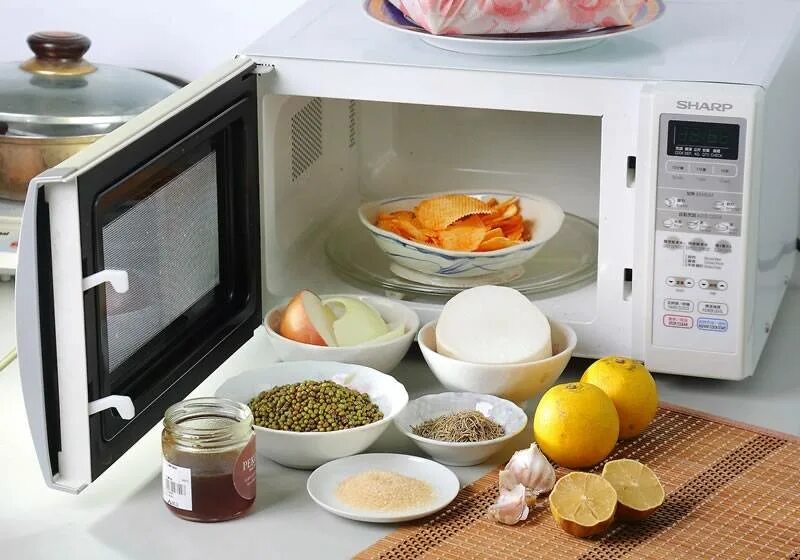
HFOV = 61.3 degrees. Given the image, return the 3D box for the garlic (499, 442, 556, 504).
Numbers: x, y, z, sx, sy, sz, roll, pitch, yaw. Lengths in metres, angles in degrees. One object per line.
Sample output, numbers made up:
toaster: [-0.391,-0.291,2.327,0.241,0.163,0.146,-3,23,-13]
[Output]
garlic: [0.133,0.201,0.702,0.061,0.059,0.050,-5,-11,29]

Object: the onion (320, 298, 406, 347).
onion: [-0.048,0.039,0.914,0.080,0.040,0.076,7,20,-14]

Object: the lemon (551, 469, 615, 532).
lemon: [0.179,0.223,0.665,0.061,0.042,0.058,9,22,17]

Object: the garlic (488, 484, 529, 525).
garlic: [0.113,0.224,0.680,0.038,0.019,0.039,10,61,24]

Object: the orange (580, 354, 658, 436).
orange: [0.260,0.125,0.782,0.094,0.099,0.089,-1,0,-3]

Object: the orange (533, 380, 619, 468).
orange: [0.191,0.158,0.779,0.097,0.088,0.094,-4,4,-14]

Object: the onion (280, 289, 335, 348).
onion: [-0.120,0.049,0.881,0.051,0.065,0.073,14,12,7]

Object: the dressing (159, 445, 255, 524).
dressing: [-0.195,0.198,0.717,0.089,0.077,0.084,0,12,-2]
